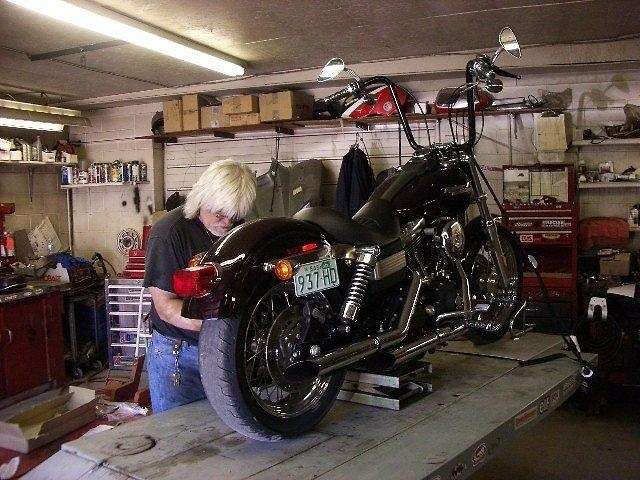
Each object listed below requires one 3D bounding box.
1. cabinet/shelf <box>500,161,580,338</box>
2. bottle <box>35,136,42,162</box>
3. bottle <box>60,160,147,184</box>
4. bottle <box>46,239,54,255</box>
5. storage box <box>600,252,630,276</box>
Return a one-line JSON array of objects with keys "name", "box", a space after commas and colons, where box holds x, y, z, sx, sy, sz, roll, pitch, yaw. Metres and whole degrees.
[{"name": "cabinet/shelf", "box": [2.284, 0.015, 4.993, 0.853, 1.526, 0.518, 1, 6, 21]}, {"name": "bottle", "box": [-3.845, -1.225, 6.467, 0.086, 0.303, 0.241, -4, 8, -30]}, {"name": "bottle", "box": [-3.116, -0.992, 6.852, 1.278, 0.359, 0.352, 3, 7, 20]}, {"name": "bottle", "box": [-3.775, 0.091, 6.640, 0.072, 0.157, 0.113, -3, 8, -24]}, {"name": "storage box", "box": [2.941, 0.235, 4.786, 0.260, 0.160, 0.241, -5, 7, -11]}]
